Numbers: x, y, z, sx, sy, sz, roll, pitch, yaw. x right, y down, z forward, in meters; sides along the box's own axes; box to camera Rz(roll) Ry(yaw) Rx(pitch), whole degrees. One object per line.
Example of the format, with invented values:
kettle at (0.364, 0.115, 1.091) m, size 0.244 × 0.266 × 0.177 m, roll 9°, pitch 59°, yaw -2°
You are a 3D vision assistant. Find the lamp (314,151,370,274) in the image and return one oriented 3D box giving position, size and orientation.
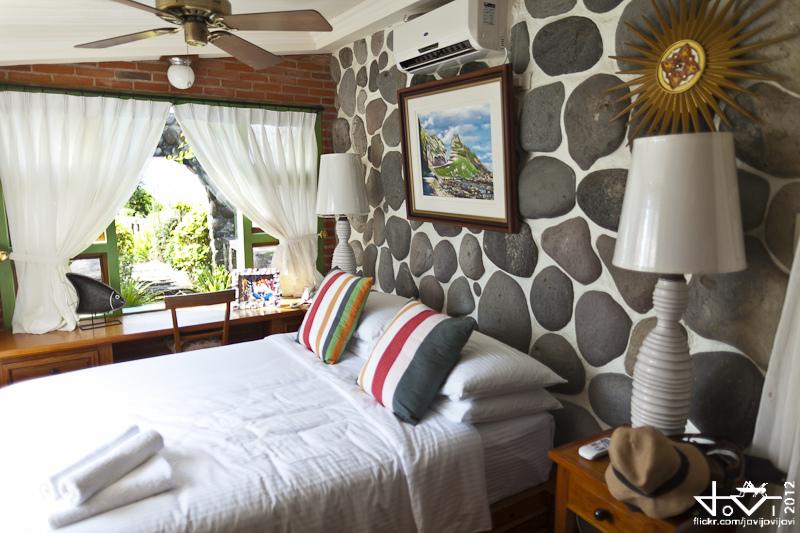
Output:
lamp at (-0.459, -0.423, 4.606) m, size 0.405 × 0.966 × 0.393 m, roll -4°, pitch 7°, yaw -5°

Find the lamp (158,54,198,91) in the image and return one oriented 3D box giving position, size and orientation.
lamp at (-1.709, -1.500, 4.416) m, size 0.205 × 0.234 × 0.206 m, roll 3°, pitch 20°, yaw -7°

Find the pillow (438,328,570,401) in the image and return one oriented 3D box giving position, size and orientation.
pillow at (0.509, 0.552, 3.035) m, size 0.381 × 0.125 × 0.403 m, roll -9°, pitch 13°, yaw -17°

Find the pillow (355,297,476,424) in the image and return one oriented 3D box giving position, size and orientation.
pillow at (0.178, 0.543, 3.138) m, size 0.193 × 0.572 × 0.624 m, roll 32°, pitch 3°, yaw -27°

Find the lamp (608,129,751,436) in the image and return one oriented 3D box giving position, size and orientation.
lamp at (1.203, 0.096, 2.454) m, size 0.504 × 1.314 × 0.212 m, roll 0°, pitch 8°, yaw 29°

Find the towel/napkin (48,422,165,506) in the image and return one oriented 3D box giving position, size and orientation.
towel/napkin at (-1.379, 0.932, 2.667) m, size 0.483 × 0.132 × 0.542 m, roll -19°, pitch 6°, yaw 3°

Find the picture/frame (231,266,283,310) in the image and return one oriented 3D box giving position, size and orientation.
picture/frame at (-1.204, 0.190, 4.757) m, size 0.320 × 0.343 × 0.048 m, roll -8°, pitch -2°, yaw -2°

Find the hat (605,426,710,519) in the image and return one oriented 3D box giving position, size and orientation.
hat at (1.050, 0.839, 2.385) m, size 0.382 × 0.241 × 0.449 m, roll -1°, pitch 12°, yaw 23°

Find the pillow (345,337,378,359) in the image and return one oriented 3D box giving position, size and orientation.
pillow at (-0.259, 0.531, 3.701) m, size 0.071 × 0.148 × 0.143 m, roll -7°, pitch 27°, yaw -45°

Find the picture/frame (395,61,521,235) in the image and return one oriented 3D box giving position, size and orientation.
picture/frame at (0.345, -0.729, 3.709) m, size 0.089 × 1.008 × 1.028 m, roll -9°, pitch 9°, yaw -36°

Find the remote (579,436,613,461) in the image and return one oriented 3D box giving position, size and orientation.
remote at (0.925, 0.825, 2.642) m, size 0.199 × 0.029 × 0.089 m, roll -10°, pitch 12°, yaw -43°
